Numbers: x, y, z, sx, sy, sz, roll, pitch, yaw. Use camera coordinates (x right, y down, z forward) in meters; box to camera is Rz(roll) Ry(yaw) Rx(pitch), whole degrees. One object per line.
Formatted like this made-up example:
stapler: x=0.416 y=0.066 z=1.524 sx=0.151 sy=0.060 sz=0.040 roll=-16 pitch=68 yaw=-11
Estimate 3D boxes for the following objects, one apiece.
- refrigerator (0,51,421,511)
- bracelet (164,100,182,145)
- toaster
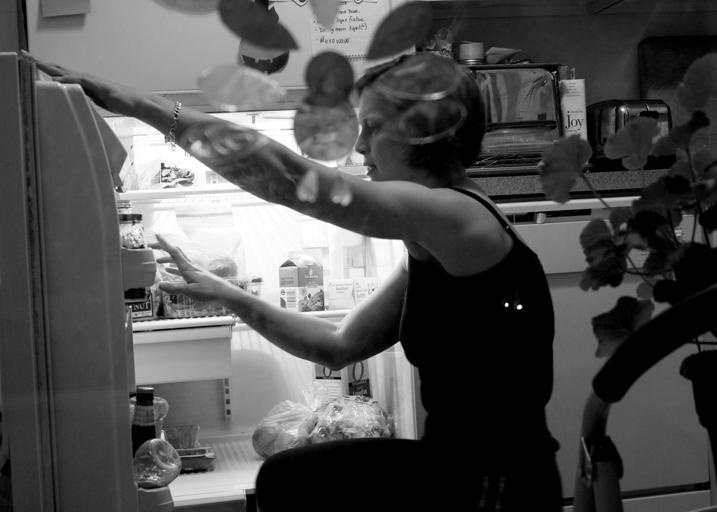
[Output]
refrigerator: x=-0.165 y=-0.036 z=0.996 sx=0.559 sy=0.451 sz=0.333 roll=0 pitch=2 yaw=-14
bracelet: x=-0.225 y=-0.161 z=0.864 sx=0.015 sy=0.051 sz=0.021 roll=-1 pitch=2 yaw=-44
toaster: x=0.389 y=-0.173 z=1.047 sx=0.138 sy=0.099 sz=0.087 roll=-5 pitch=-2 yaw=-8
